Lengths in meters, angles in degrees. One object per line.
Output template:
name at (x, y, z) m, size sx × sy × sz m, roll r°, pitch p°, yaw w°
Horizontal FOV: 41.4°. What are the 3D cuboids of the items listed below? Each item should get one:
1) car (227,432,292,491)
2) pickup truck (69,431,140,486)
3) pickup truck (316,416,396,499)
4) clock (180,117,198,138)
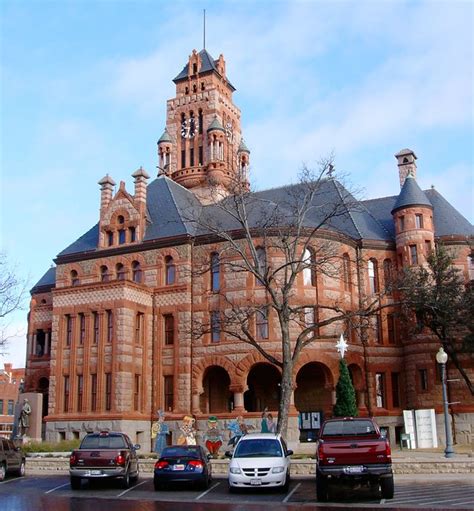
car at (0.779, 5.849, 18.319) m, size 1.816 × 1.322 × 3.080 m, roll -3°, pitch -6°, yaw 9°
pickup truck at (-3.866, 6.148, 19.206) m, size 1.405 × 0.954 × 2.345 m, roll -2°, pitch -10°, yaw 4°
pickup truck at (2.939, 5.131, 16.582) m, size 1.937 × 1.563 × 3.628 m, roll -3°, pitch -10°, yaw 4°
clock at (-4.083, -10.874, 53.821) m, size 2.465 × 2.194 × 0.304 m, roll -1°, pitch -24°, yaw 3°
